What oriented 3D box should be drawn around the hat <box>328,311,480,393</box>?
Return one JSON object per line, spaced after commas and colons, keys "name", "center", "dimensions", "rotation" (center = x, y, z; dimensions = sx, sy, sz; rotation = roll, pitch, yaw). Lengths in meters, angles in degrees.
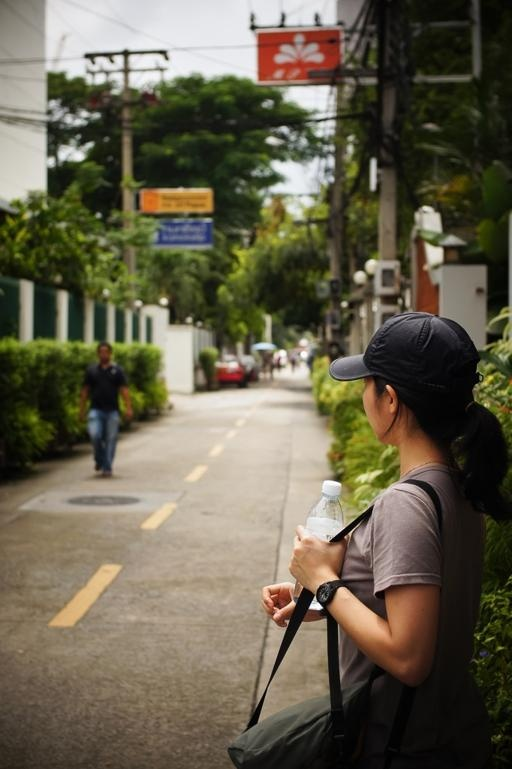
{"name": "hat", "center": [0.310, -0.073, 2.075], "dimensions": [0.213, 0.127, 0.148], "rotation": [13, 17, 31]}
